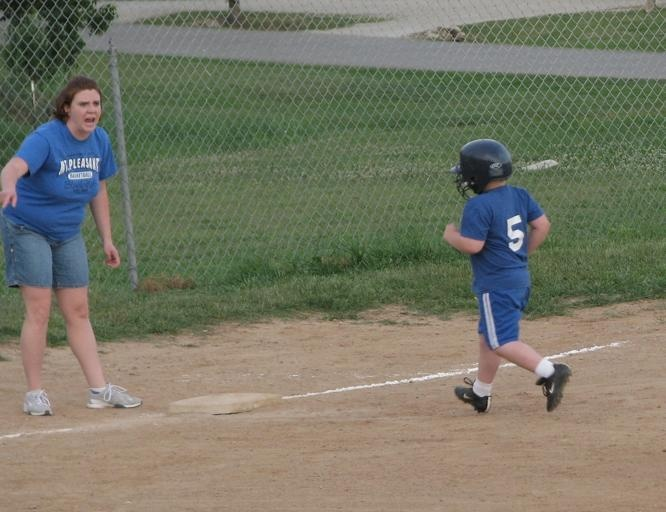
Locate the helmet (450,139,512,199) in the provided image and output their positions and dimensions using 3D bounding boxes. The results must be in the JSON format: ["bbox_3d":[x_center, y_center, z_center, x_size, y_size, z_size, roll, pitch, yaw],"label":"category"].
[{"bbox_3d":[1.203,-0.703,11.165,0.528,0.487,0.420,-1,17,35],"label":"helmet"}]

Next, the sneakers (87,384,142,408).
[{"bbox_3d":[-1.766,1.125,11.285,0.384,0.164,0.190,0,2,-3],"label":"sneakers"}]

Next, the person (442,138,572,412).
[{"bbox_3d":[1.362,0.169,11.020,0.951,2.144,0.656,1,8,15],"label":"person"}]

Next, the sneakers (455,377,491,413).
[{"bbox_3d":[1.108,1.087,11.211,0.149,0.186,0.423,-11,29,-33],"label":"sneakers"}]
